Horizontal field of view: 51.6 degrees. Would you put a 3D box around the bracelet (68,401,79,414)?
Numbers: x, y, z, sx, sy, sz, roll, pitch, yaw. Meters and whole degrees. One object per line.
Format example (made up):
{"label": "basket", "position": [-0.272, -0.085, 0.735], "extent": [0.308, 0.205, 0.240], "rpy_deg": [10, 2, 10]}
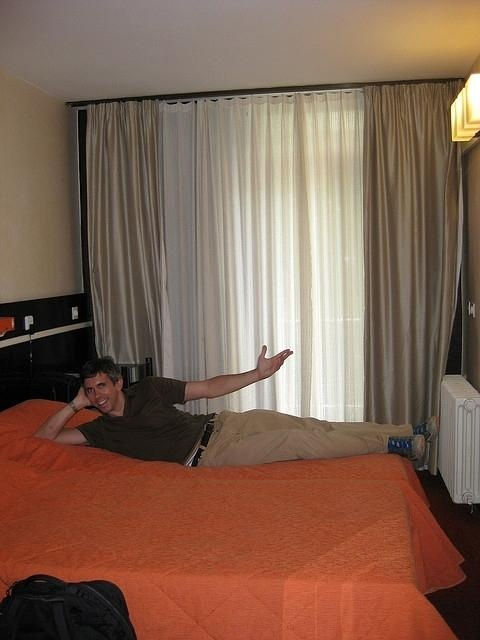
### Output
{"label": "bracelet", "position": [-0.800, 0.417, 2.373], "extent": [0.037, 0.062, 0.019], "rpy_deg": [-41, 19, -32]}

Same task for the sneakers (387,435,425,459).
{"label": "sneakers", "position": [0.764, 0.579, 2.259], "extent": [0.148, 0.107, 0.063], "rpy_deg": [1, -6, 24]}

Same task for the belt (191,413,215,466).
{"label": "belt", "position": [-0.178, 0.599, 2.441], "extent": [0.032, 0.164, 0.088], "rpy_deg": [23, -15, -3]}

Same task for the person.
{"label": "person", "position": [0.014, 0.505, 2.532], "extent": [1.885, 0.795, 0.811], "rpy_deg": [1, -7, 13]}
